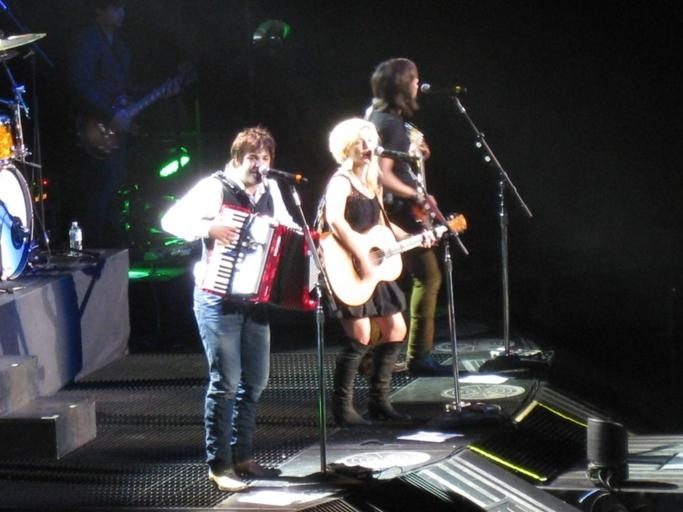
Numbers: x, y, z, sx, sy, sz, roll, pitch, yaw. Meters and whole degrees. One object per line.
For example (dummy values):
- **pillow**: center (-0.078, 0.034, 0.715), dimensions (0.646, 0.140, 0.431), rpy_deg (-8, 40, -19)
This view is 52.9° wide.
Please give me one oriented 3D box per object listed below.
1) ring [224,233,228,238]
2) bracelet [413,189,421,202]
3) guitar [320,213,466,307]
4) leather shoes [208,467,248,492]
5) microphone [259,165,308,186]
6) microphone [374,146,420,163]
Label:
- **ring**: center (-0.690, -0.124, 4.111), dimensions (0.028, 0.017, 0.005), rpy_deg (7, -4, -14)
- **bracelet**: center (0.617, -0.507, 5.703), dimensions (0.061, 0.099, 0.024), rpy_deg (-1, 17, 6)
- **guitar**: center (0.185, 0.062, 4.972), dimensions (0.795, 0.630, 0.170), rpy_deg (9, -5, -28)
- **leather shoes**: center (-0.724, 1.380, 4.306), dimensions (0.275, 0.104, 0.100), rpy_deg (1, 0, 40)
- **microphone**: center (-0.410, -0.476, 4.200), dimensions (0.402, 0.108, 0.105), rpy_deg (10, 13, 12)
- **microphone**: center (0.408, -0.723, 4.875), dimensions (0.226, 0.096, 0.366), rpy_deg (5, -4, 26)
